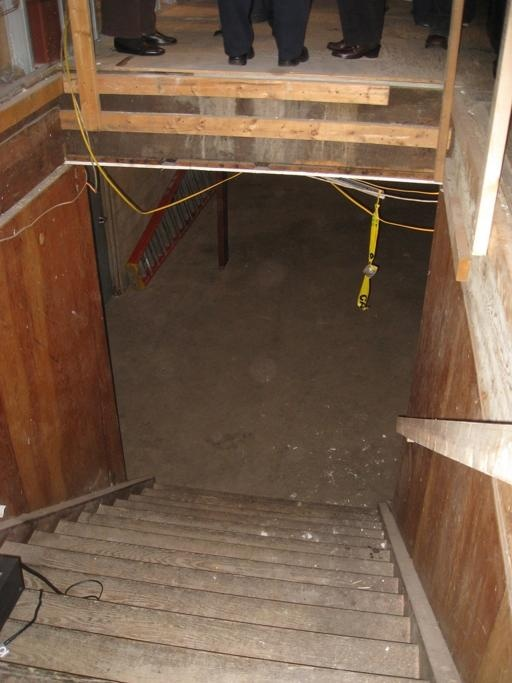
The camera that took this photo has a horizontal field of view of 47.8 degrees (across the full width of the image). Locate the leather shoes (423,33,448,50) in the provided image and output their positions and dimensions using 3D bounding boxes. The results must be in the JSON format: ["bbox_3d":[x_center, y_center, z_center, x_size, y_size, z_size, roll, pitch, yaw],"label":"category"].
[{"bbox_3d":[1.204,-2.012,3.868,0.135,0.085,0.211,10,29,12],"label":"leather shoes"}]

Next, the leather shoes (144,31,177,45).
[{"bbox_3d":[-0.618,-1.944,3.756,0.201,0.080,0.081,-2,-16,-21],"label":"leather shoes"}]

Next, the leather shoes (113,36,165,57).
[{"bbox_3d":[-0.725,-1.835,3.573,0.291,0.103,0.285,-4,29,-13],"label":"leather shoes"}]
